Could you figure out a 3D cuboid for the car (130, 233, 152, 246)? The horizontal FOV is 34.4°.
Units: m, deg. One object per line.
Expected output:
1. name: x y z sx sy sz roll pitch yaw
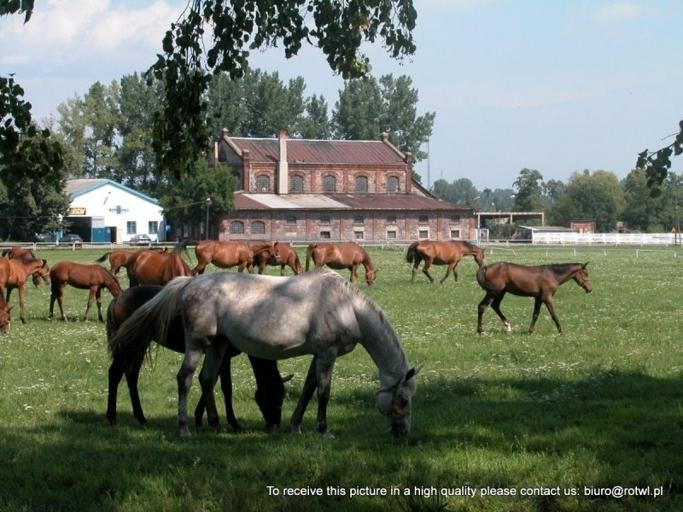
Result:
1. car: -17.833 -1.345 97.432 1.674 0.959 1.034 5 -6 -37
